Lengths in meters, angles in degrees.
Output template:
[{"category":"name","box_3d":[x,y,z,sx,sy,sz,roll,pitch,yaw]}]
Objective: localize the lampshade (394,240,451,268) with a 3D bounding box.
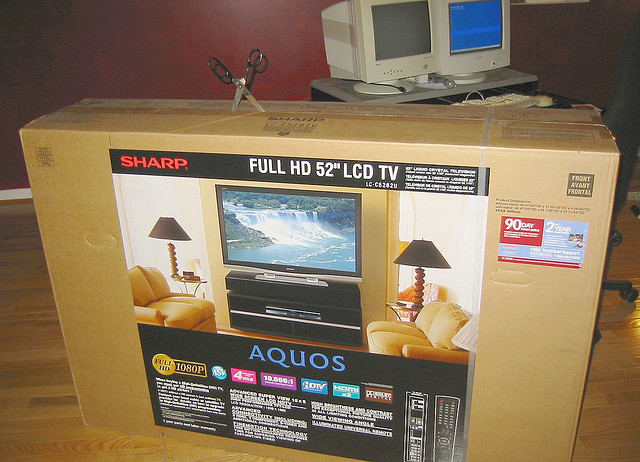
[{"category":"lampshade","box_3d":[0.352,0.060,1.824,0.125,0.043,0.117,-14,24,-35]}]

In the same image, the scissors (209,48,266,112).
[{"category":"scissors","box_3d":[-0.285,-0.528,2.041,0.196,0.343,0.014,-25,67,-8]}]

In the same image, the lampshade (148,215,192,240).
[{"category":"lampshade","box_3d":[-0.546,-0.016,1.962,0.120,0.050,0.094,7,20,10]}]

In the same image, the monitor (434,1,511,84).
[{"category":"monitor","box_3d":[0.949,-1.216,3.526,0.607,0.438,0.277,-13,32,-11]}]

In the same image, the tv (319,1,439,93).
[{"category":"tv","box_3d":[0.310,-1.160,3.599,0.841,0.579,0.646,-5,33,-1]}]

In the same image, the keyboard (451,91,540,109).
[{"category":"keyboard","box_3d":[1.063,-0.799,3.339,0.585,0.097,0.332,-6,13,-20]}]
